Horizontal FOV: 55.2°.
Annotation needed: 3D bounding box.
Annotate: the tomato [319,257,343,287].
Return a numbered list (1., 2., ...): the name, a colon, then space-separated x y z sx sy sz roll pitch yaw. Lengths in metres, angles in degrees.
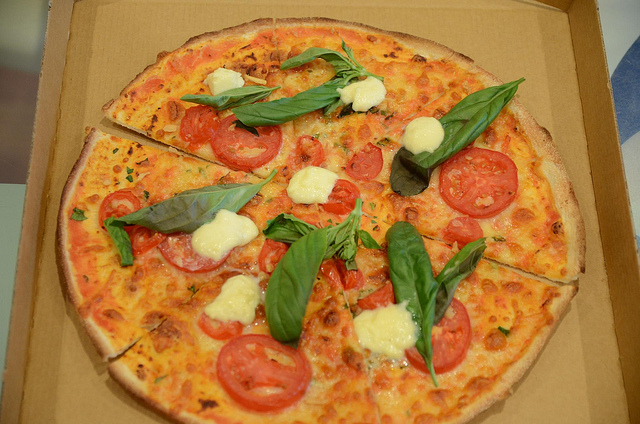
1. tomato: 0.098 0.560 5.529 0.163 0.060 0.251 -34 71 -5

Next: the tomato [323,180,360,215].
1. tomato: 0.210 -0.111 5.872 0.280 0.188 0.312 19 42 12

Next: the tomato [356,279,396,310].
1. tomato: 0.499 0.743 5.429 0.295 0.328 0.200 -3 43 -13

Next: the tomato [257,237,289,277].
1. tomato: -0.421 0.408 5.659 0.316 0.085 0.306 -25 77 -10

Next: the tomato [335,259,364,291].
1. tomato: 0.279 0.615 5.618 0.332 0.060 0.201 -7 39 -39
